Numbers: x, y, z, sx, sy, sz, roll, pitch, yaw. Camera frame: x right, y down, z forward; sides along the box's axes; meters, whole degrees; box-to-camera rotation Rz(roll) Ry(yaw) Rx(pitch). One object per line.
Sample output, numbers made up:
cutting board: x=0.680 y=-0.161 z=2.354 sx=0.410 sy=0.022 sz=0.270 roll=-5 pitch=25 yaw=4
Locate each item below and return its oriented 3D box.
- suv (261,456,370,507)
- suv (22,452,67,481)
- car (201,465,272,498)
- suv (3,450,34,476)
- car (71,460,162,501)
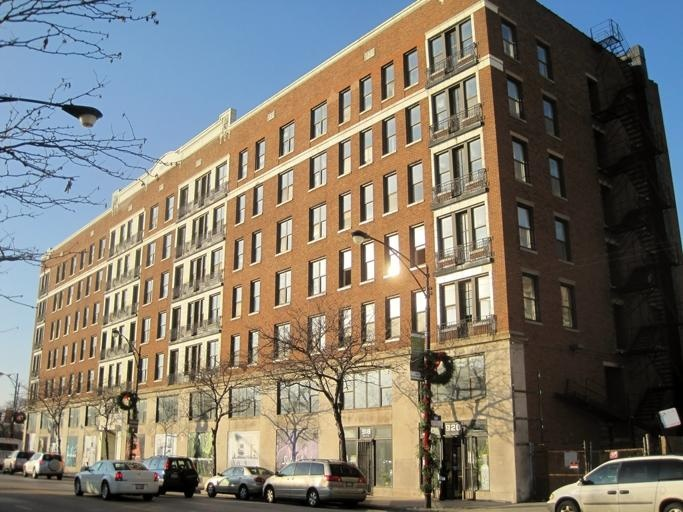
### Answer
suv: x=-1.620 y=11.355 z=36.000 sx=5.697 sy=2.231 sz=1.848 roll=-16 pitch=-28 yaw=34
suv: x=-23.014 y=16.395 z=56.399 sx=2.348 sy=2.194 sz=3.520 roll=14 pitch=-26 yaw=-29
car: x=-5.744 y=12.778 z=41.009 sx=4.053 sy=1.457 sz=1.767 roll=-15 pitch=-22 yaw=42
suv: x=-27.454 y=17.834 z=62.410 sx=2.027 sy=1.871 sz=4.313 roll=9 pitch=-16 yaw=-36
car: x=-11.543 y=11.336 z=36.712 sx=2.104 sy=1.493 sz=4.496 roll=16 pitch=-23 yaw=-40
